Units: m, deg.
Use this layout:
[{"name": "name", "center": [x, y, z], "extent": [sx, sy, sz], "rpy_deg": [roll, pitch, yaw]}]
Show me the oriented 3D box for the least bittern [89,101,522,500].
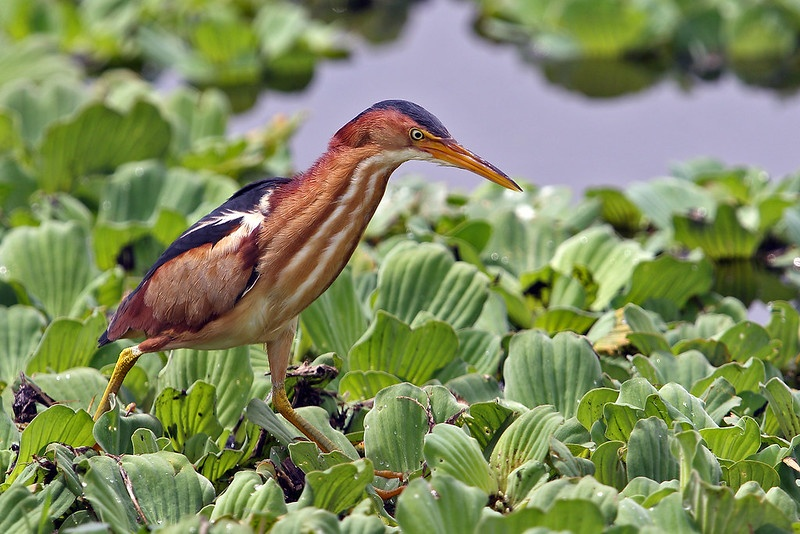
[{"name": "least bittern", "center": [-0.415, 0.082, 3.291], "extent": [1.413, 1.305, 0.398], "rpy_deg": [6, 9, 21]}]
